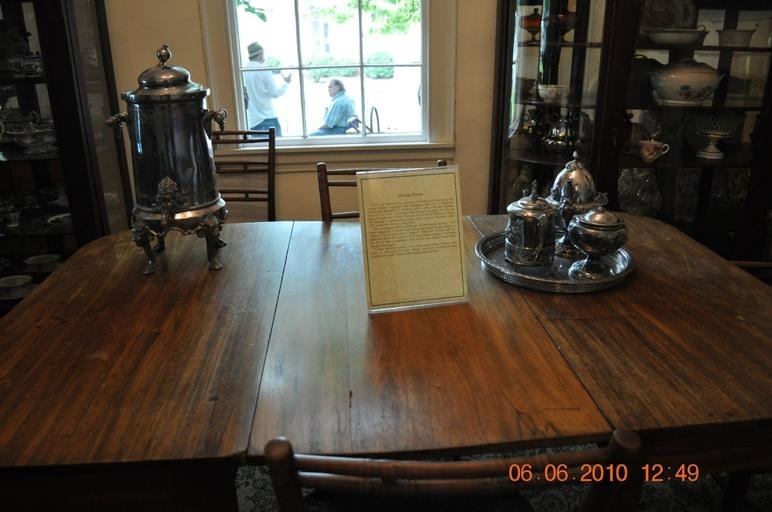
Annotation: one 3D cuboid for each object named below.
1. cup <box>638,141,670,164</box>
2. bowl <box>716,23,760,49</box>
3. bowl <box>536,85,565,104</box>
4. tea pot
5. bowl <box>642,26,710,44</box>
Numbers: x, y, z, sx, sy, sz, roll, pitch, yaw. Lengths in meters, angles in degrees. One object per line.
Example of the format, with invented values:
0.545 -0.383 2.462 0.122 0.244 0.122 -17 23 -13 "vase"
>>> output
1.343 -0.527 2.601 0.142 0.101 0.103 1 13 10 "cup"
1.708 -1.069 2.503 0.186 0.095 0.059 -6 23 -6 "bowl"
0.854 -0.848 2.665 0.105 0.072 0.107 -1 23 1 "bowl"
0.439 -0.094 1.542 0.140 0.225 0.221 -2 23 4 "tea pot"
1.396 -1.056 2.473 0.340 0.087 0.075 -13 25 -21 "bowl"
